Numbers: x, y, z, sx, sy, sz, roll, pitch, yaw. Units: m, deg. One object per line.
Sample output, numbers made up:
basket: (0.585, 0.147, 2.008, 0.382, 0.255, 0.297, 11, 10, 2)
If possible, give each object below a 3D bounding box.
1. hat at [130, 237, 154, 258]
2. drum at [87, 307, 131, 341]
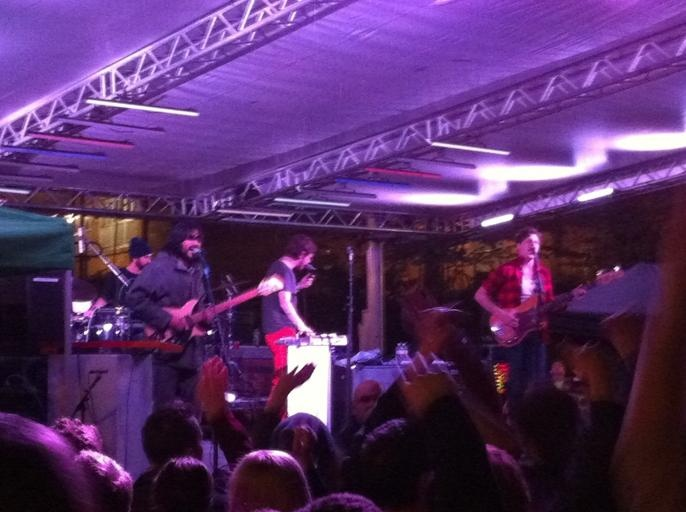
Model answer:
hat: (-2.114, -0.078, 6.854, 0.260, 0.221, 0.199, -1, -2, 2)
drum: (-1.564, 0.451, 4.466, 0.247, 0.211, 0.083, 8, -6, -23)
